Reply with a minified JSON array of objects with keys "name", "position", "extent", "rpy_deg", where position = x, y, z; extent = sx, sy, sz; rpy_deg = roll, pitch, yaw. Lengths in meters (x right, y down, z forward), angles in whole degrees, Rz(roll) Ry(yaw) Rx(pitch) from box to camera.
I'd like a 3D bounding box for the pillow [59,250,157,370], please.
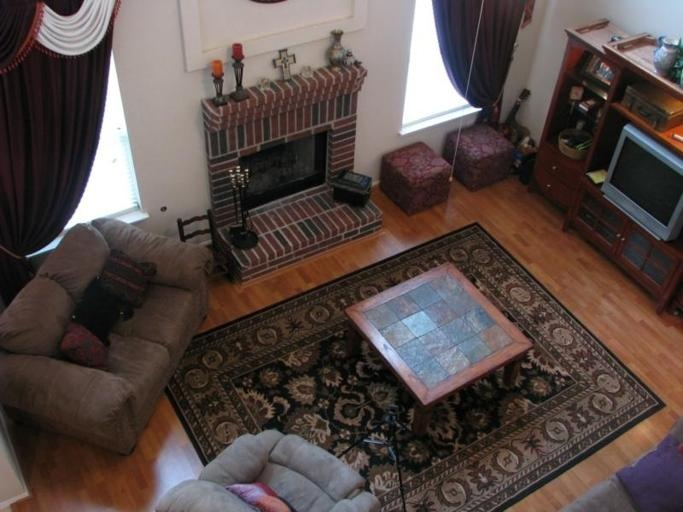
[{"name":"pillow","position":[-2.114,0.500,4.968],"extent":[0.519,0.297,0.941],"rpy_deg":[31,61,-25]}]
